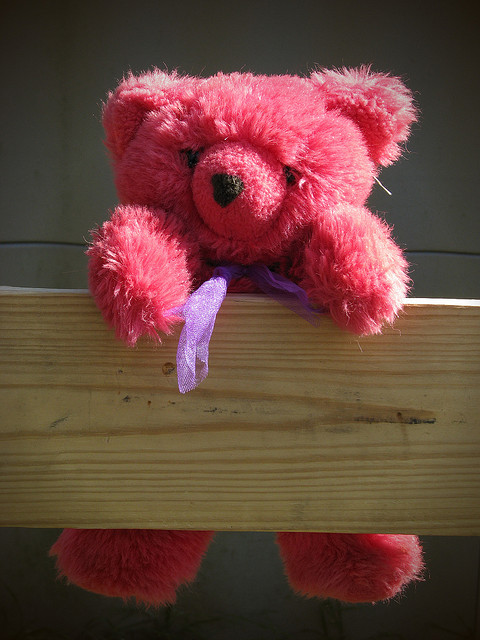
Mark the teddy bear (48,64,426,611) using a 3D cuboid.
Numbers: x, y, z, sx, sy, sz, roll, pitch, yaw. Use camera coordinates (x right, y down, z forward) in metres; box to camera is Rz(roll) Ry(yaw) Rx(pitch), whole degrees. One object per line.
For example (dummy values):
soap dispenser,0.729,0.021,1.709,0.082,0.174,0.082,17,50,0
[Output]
teddy bear,-0.009,0.019,0.798,0.419,0.514,0.446,-1,41,-2
